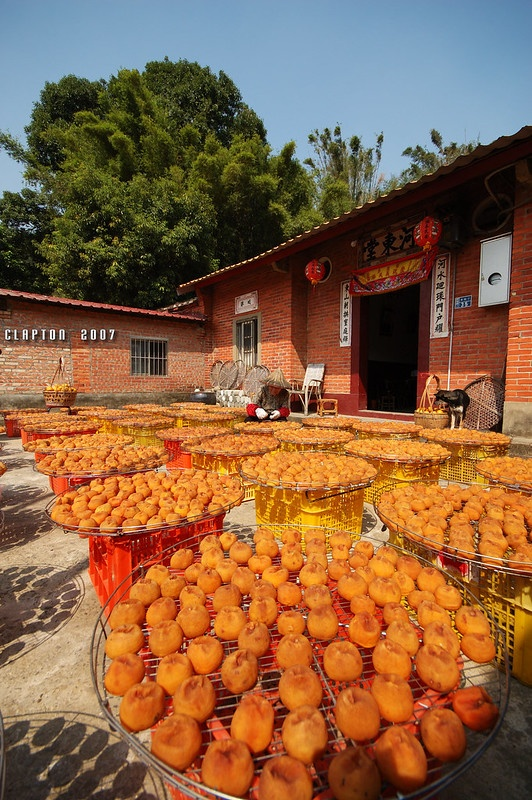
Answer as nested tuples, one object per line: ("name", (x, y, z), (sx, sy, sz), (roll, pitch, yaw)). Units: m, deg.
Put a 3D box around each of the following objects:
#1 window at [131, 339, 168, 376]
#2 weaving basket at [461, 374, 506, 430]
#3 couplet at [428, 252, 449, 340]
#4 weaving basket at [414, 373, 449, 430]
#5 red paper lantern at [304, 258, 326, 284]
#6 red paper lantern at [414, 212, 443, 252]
("window", (-3.490, -1.266, 13.909), (0.105, 0.975, 1.140), (5, 6, 38))
("weaving basket", (3.191, 0.056, 6.808), (0.184, 0.781, 0.724), (8, 1, -34))
("couplet", (2.949, -1.723, 7.906), (0.075, 1.342, 0.348), (-7, 9, -35))
("weaving basket", (2.415, 0.045, 6.821), (0.464, 0.700, 0.440), (-1, 8, -6))
("red paper lantern", (1.112, -2.850, 10.392), (0.404, 0.561, 0.396), (-34, 61, -21))
("red paper lantern", (2.537, -2.615, 7.341), (0.396, 0.457, 0.518), (1, 8, 19))
